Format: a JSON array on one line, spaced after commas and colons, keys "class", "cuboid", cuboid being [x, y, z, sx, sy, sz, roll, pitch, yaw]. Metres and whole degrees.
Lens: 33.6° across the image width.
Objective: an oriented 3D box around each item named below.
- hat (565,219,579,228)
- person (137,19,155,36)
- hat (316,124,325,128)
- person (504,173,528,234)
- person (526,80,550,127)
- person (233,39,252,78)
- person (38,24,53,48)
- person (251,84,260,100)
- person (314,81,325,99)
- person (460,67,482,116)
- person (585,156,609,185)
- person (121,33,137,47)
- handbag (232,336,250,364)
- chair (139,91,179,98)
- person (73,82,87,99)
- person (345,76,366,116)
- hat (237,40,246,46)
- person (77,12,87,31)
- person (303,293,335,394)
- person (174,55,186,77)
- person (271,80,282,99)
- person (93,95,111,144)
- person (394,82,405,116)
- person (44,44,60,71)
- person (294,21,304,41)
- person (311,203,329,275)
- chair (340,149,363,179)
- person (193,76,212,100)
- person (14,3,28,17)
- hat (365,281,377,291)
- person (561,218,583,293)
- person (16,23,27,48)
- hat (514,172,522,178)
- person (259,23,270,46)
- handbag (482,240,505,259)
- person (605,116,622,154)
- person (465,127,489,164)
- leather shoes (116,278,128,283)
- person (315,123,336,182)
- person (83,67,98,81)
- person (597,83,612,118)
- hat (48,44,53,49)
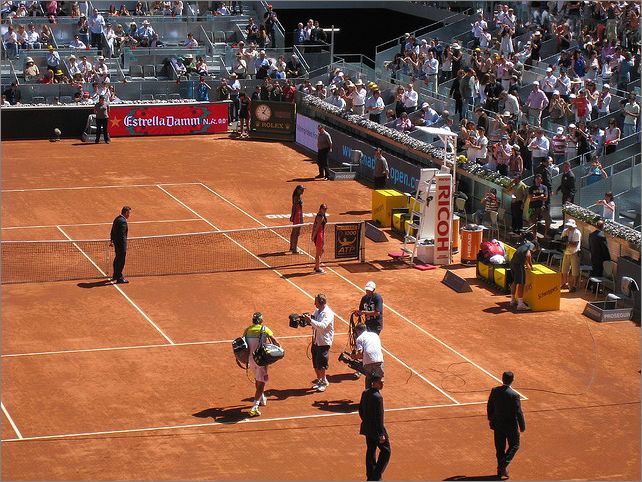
[{"class": "hat", "cuboid": [7.402, -0.530, 31.323, 0.267, 0.140, 0.273, 14, 3, 19]}, {"class": "person", "cuboid": [-9.090, -11.056, 55.242, 0.857, 0.925, 1.978, -2, 16, -10]}, {"class": "hat", "cuboid": [0.012, -4.506, 41.548, 0.330, 0.152, 0.450, 1, 4, 1]}, {"class": "person", "cuboid": [6.444, -1.199, 34.553, 0.780, 2.043, 0.656, 8, 17, 23]}, {"class": "person", "cuboid": [8.100, -5.130, 39.381, 0.702, 1.576, 1.066, 3, 15, 7]}, {"class": "person", "cuboid": [-3.990, -9.201, 53.669, 0.815, 1.718, 1.439, 1, 15, 2]}, {"class": "person", "cuboid": [-13.847, -10.419, 53.461, 0.785, 1.057, 1.812, -3, 16, -13]}, {"class": "person", "cuboid": [-3.109, -7.117, 50.530, 0.458, 0.630, 1.207, 0, 15, -3]}, {"class": "person", "cuboid": [-0.019, -7.212, 50.119, 0.445, 0.734, 1.091, 1, 15, -1]}, {"class": "person", "cuboid": [5.854, -5.890, 42.192, 0.577, 1.935, 0.579, 2, 15, 6]}, {"class": "person", "cuboid": [9.131, -2.349, 34.933, 0.672, 0.958, 0.404, 5, 16, 13]}, {"class": "person", "cuboid": [-9.807, -10.263, 54.170, 0.632, 0.856, 0.465, -27, 65, -30]}, {"class": "handbag", "cuboid": [-1.792, 2.501, 23.895, 0.350, 0.650, 0.299, -4, 16, -16]}, {"class": "chair", "cuboid": [-7.880, -7.150, 52.016, 1.958, 0.269, 0.568, -2, 16, -10]}, {"class": "person", "cuboid": [-11.181, -6.938, 49.177, 0.664, 0.775, 0.588, -3, 16, -16]}, {"class": "person", "cuboid": [1.591, -6.317, 46.407, 0.729, 1.376, 1.470, -4, 16, -17]}, {"class": "hat", "cuboid": [-4.037, -10.164, 54.242, 0.340, 0.384, 0.399, 0, 4, -10]}, {"class": "person", "cuboid": [-12.160, -11.115, 54.109, 0.539, 0.854, 0.698, -3, 16, -13]}, {"class": "person", "cuboid": [-0.042, 2.415, 25.183, 0.596, 2.424, 0.951, 3, 16, 7]}, {"class": "person", "cuboid": [-7.033, -8.782, 53.233, 0.560, 0.847, 1.044, -1, 15, -7]}, {"class": "person", "cuboid": [-2.135, -7.214, 50.963, 0.512, 0.735, 0.752, 0, 15, -3]}, {"class": "person", "cuboid": [-9.852, -5.399, 47.610, 0.654, 2.105, 1.570, -2, 16, -12]}, {"class": "person", "cuboid": [3.358, -5.887, 44.562, 0.405, 1.294, 1.002, 2, 15, 3]}, {"class": "person", "cuboid": [-13.014, -8.890, 51.518, 0.564, 1.099, 0.973, -7, 17, -27]}, {"class": "person", "cuboid": [-1.080, -11.042, 56.046, 0.497, 1.055, 1.272, 0, 15, -3]}, {"class": "person", "cuboid": [-0.018, 0.014, 32.803, 0.788, 2.770, 0.678, 3, 41, 3]}, {"class": "chair", "cuboid": [1.283, -3.215, 43.270, 0.888, 1.148, 1.737, 1, 15, 1]}, {"class": "person", "cuboid": [-5.787, -7.475, 51.669, 0.623, 1.226, 1.381, -1, 15, -7]}, {"class": "person", "cuboid": [-15.529, -12.059, 55.006, 0.435, 0.652, 0.858, 6, 16, 18]}, {"class": "hat", "cuboid": [1.246, 1.105, 26.146, 0.182, 0.156, 0.282, 10, -4, 20]}, {"class": "person", "cuboid": [7.443, 0.424, 31.479, 0.574, 2.044, 0.633, 5, 16, 13]}, {"class": "person", "cuboid": [-14.796, -10.183, 52.501, 0.517, 1.105, 0.746, -3, 16, -16]}, {"class": "hat", "cuboid": [6.380, -2.142, 34.269, 0.227, 0.257, 0.298, 3, 11, 5]}, {"class": "person", "cuboid": [-3.041, -11.057, 56.660, 0.491, 1.229, 1.503, 2, 15, 5]}, {"class": "handbag", "cuboid": [5.155, 0.251, 32.156, 0.752, 0.525, 0.981, 10, 13, 6]}, {"class": "person", "cuboid": [9.901, -3.578, 35.875, 0.535, 1.227, 0.614, 5, 16, 13]}, {"class": "person", "cuboid": [5.620, -3.417, 38.015, 0.773, 1.308, 0.728, 2, 15, 5]}, {"class": "leather shoes", "cuboid": [-5.787, 1.147, 31.102, 0.394, 0.159, 0.134, -2, 6, -6]}, {"class": "person", "cuboid": [0.131, -3.569, 42.254, 0.585, 2.280, 1.420, 1, 15, -1]}, {"class": "person", "cuboid": [-11.099, -7.933, 50.655, 0.448, 0.717, 0.713, 13, 11, 9]}, {"class": "person", "cuboid": [10.220, -5.076, 38.103, 0.471, 1.105, 0.582, 5, 16, 13]}, {"class": "hat", "cuboid": [-13.216, -9.549, 51.901, 0.380, 0.206, 0.513, -2, 9, -25]}]
